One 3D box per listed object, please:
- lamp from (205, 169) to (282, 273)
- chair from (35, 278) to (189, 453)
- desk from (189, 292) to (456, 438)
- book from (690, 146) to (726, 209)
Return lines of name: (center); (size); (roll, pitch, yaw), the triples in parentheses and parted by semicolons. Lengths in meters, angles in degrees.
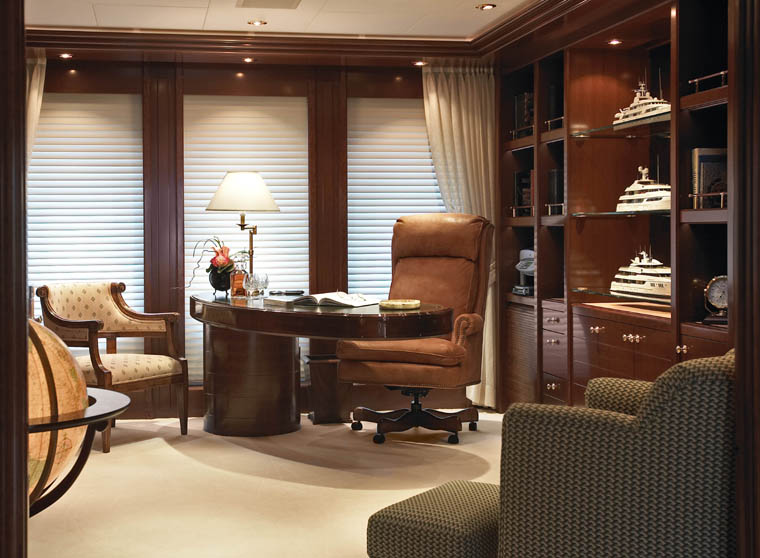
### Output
lamp: (-0.979, -0.444, 4.873); (0.469, 0.765, 0.573); (0, 4, 9)
chair: (-1.953, 0.529, 4.859); (1.216, 1.414, 1.155); (1, 1, 36)
desk: (-0.416, 0.589, 4.305); (1.162, 0.506, 0.591); (2, 4, 31)
book: (1.765, -0.542, 3.404); (0.175, 0.325, 0.194); (1, 4, 17)
